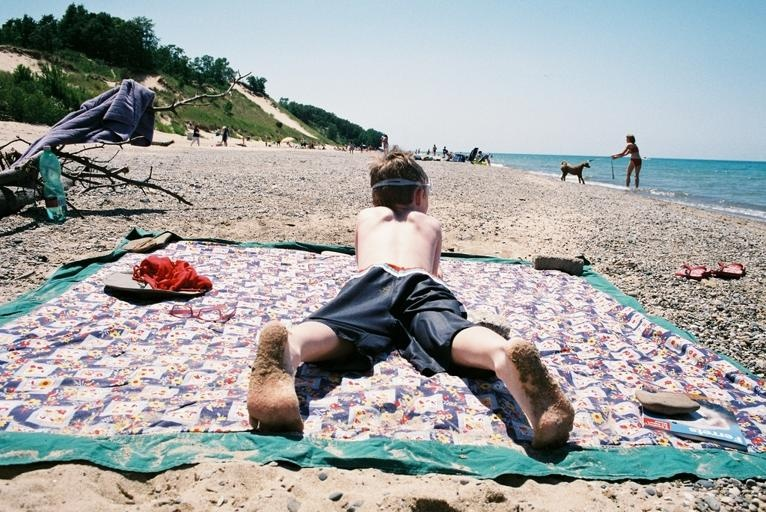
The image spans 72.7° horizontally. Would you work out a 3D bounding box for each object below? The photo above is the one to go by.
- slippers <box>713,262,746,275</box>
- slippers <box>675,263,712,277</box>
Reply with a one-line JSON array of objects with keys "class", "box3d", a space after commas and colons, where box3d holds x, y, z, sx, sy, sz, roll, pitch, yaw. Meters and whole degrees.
[{"class": "slippers", "box3d": [4.917, 0.194, 7.398, 0.390, 0.132, 0.276, 8, 26, 44]}, {"class": "slippers", "box3d": [4.417, 0.226, 7.414, 0.510, 0.144, 0.388, -7, 16, -42]}]
